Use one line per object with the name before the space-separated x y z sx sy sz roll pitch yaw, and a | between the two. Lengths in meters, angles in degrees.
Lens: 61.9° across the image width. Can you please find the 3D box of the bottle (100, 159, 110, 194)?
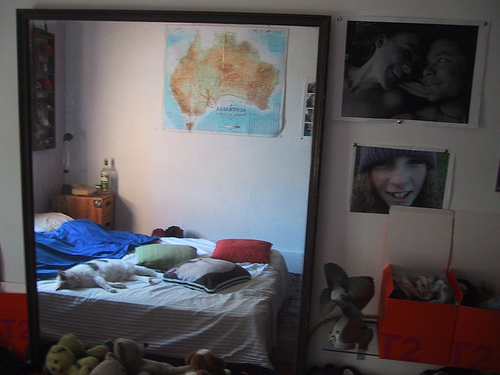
bottle | -0.631 -0.048 1.812 0.042 0.147 0.014 3 8 12

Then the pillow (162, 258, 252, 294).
pillow | -0.186 0.377 1.793 0.381 0.138 0.037 2 8 6

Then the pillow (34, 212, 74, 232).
pillow | -0.893 0.151 1.908 0.136 0.102 0.035 4 7 8
